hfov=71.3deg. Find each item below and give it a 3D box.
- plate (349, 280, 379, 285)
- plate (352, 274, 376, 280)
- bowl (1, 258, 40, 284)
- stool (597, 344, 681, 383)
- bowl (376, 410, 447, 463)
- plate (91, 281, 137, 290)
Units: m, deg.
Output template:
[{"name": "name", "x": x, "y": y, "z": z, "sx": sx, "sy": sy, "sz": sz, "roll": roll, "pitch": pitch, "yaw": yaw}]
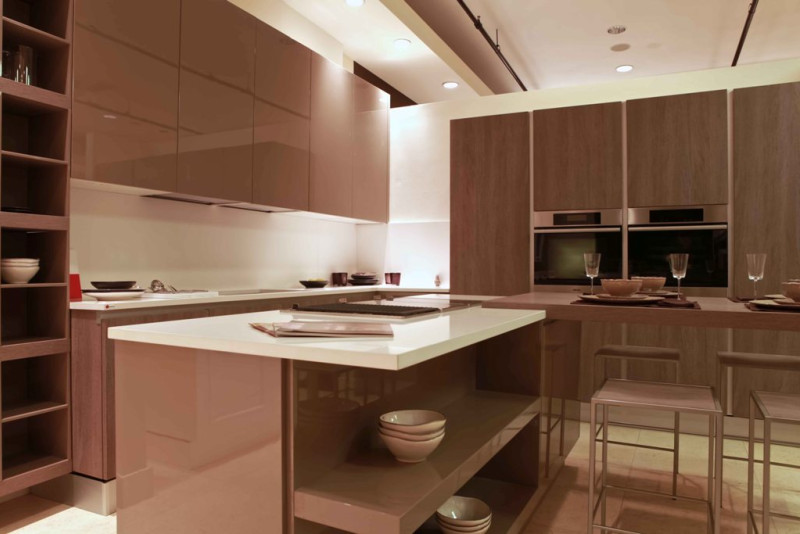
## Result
[{"name": "plate", "x": -0.406, "y": 0.139, "z": 5.989, "sx": 0.281, "sy": 0.064, "sz": 0.222, "roll": 0, "pitch": 3, "yaw": -3}, {"name": "plate", "x": -0.399, "y": 0.082, "z": 5.907, "sx": 0.225, "sy": 0.045, "sz": 0.085, "roll": 0, "pitch": 3, "yaw": -2}, {"name": "bowl", "x": -2.359, "y": 0.017, "z": 3.460, "sx": 0.167, "sy": 0.116, "sz": 0.166, "roll": 1, "pitch": -2, "yaw": 0}, {"name": "stool", "x": 1.872, "y": 0.744, "z": 4.330, "sx": 0.452, "sy": 0.216, "sz": 0.246, "roll": -1, "pitch": -2, "yaw": 30}, {"name": "bowl", "x": 0.052, "y": 0.786, "z": 2.626, "sx": 0.241, "sy": 0.143, "sz": 0.222, "roll": 2, "pitch": -6, "yaw": 0}, {"name": "plate", "x": -1.915, "y": 0.113, "z": 3.735, "sx": 0.238, "sy": 0.059, "sz": 0.081, "roll": -2, "pitch": 3, "yaw": -27}]
